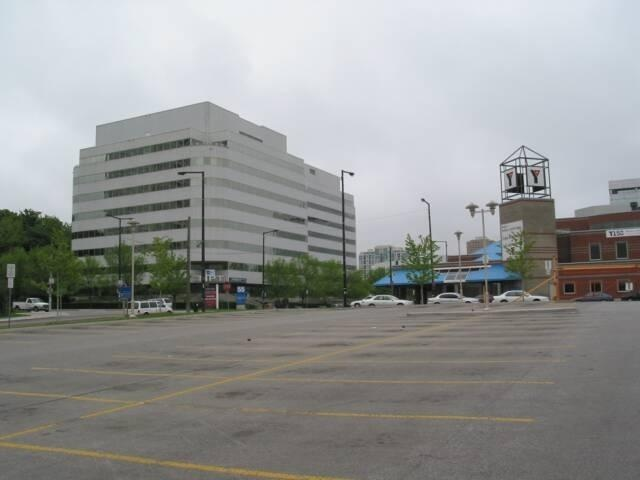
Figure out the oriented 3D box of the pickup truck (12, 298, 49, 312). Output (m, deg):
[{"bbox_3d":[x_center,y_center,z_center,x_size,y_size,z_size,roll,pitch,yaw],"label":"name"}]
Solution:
[{"bbox_3d":[-30.098,6.901,69.023,3.886,1.349,1.983,-5,-7,26],"label":"pickup truck"}]
